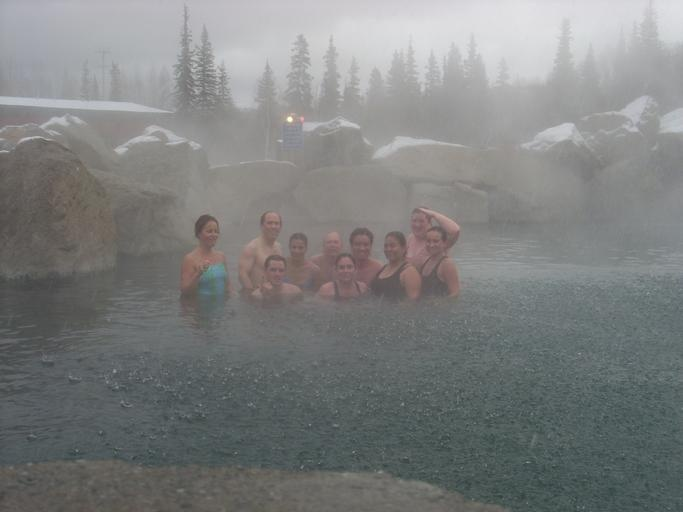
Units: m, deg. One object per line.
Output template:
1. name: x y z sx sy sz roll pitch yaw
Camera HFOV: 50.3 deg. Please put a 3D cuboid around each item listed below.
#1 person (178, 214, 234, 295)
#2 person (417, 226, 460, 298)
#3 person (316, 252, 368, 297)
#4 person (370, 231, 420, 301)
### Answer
1. person: -1.693 0.003 9.082 0.603 1.023 0.444 0 7 -12
2. person: 1.266 0.058 9.351 0.479 0.864 0.514 2 7 6
3. person: 0.016 0.320 9.232 0.795 0.652 0.493 -1 -3 -7
4. person: 0.721 0.159 9.492 0.950 0.969 0.538 1 -2 43
